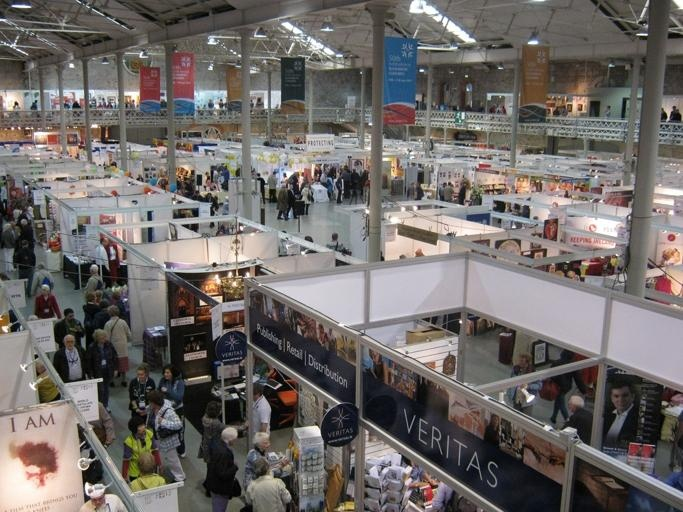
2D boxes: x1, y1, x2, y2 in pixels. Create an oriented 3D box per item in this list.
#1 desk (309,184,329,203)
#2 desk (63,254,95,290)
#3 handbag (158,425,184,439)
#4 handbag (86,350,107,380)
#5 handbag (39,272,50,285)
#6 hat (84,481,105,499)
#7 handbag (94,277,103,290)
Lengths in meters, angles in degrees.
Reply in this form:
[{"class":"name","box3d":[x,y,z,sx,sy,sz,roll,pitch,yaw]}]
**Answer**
[{"class":"desk","box3d":[-0.905,-2.515,22.010,0.498,0.502,0.797,-5,14,-16]},{"class":"desk","box3d":[-6.356,0.228,12.916,0.580,0.686,0.868,-8,8,-26]},{"class":"handbag","box3d":[-1.986,2.055,6.277,0.198,0.099,0.143,2,-3,-31]},{"class":"handbag","box3d":[-3.355,1.480,7.409,0.201,0.386,0.375,-1,1,38]},{"class":"handbag","box3d":[-5.561,0.413,10.120,0.210,0.290,0.148,-10,9,-44]},{"class":"hat","box3d":[-1.895,1.822,4.171,0.138,0.110,0.188,2,-24,-9]},{"class":"handbag","box3d":[-4.493,0.503,9.986,0.128,0.259,0.190,-5,22,-22]}]
